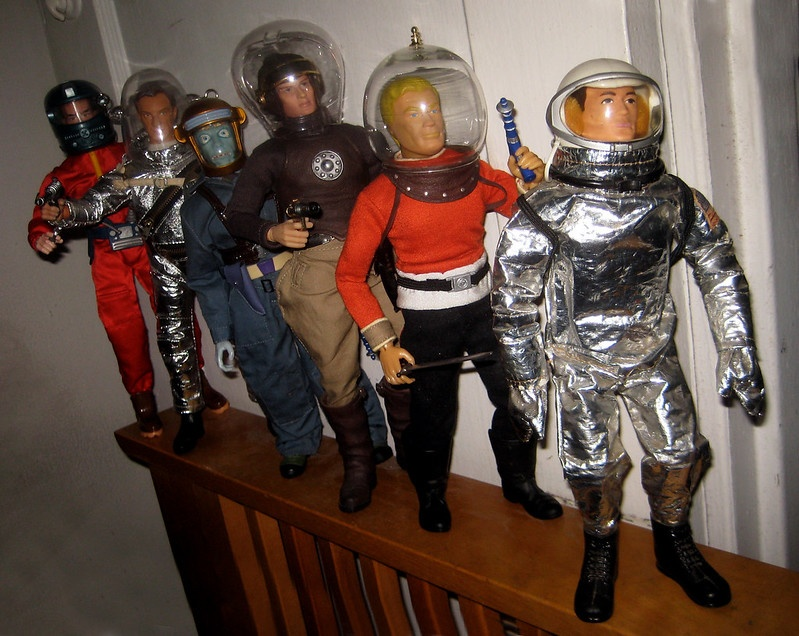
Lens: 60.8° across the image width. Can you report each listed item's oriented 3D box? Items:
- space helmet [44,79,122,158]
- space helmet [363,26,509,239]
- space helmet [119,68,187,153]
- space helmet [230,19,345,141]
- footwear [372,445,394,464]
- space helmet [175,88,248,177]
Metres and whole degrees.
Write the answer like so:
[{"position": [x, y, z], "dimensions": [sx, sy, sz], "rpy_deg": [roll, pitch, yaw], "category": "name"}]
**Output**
[{"position": [-1.266, -0.793, 2.686], "dimensions": [0.247, 0.265, 0.321], "rpy_deg": [-26, 24, -33], "category": "space helmet"}, {"position": [0.065, -0.560, 1.841], "dimensions": [0.312, 0.467, 0.304], "rpy_deg": [-28, 32, -34], "category": "space helmet"}, {"position": [-0.894, -0.783, 2.562], "dimensions": [0.236, 0.351, 0.215], "rpy_deg": [24, 31, 39], "category": "space helmet"}, {"position": [-0.342, -0.735, 2.134], "dimensions": [0.332, 0.366, 0.332], "rpy_deg": [-6, 26, -13], "category": "space helmet"}, {"position": [-0.056, 0.469, 2.357], "dimensions": [0.052, 0.056, 0.066], "rpy_deg": [-5, -1, 4], "category": "footwear"}, {"position": [-0.580, -0.599, 2.204], "dimensions": [0.202, 0.254, 0.205], "rpy_deg": [-15, 29, -34], "category": "space helmet"}]
